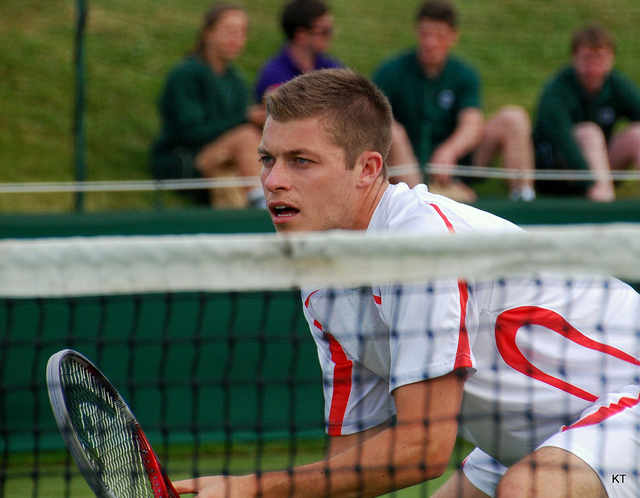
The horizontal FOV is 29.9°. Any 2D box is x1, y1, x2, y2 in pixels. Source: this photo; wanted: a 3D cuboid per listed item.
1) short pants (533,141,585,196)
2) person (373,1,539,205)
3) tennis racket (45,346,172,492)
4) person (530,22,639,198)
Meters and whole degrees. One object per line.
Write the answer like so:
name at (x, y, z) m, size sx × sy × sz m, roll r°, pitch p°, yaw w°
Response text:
short pants at (1.344, -0.462, 6.781) m, size 0.198 × 0.361 × 0.312 m, roll -4°, pitch 9°, yaw 11°
person at (0.737, -0.911, 7.110) m, size 0.833 × 1.427 × 1.024 m, roll -11°, pitch 15°, yaw -11°
tennis racket at (-0.936, 0.784, 5.106) m, size 0.106 × 0.808 × 0.396 m, roll -20°, pitch 39°, yaw 22°
person at (1.596, -0.856, 7.099) m, size 0.529 × 0.988 × 0.847 m, roll -7°, pitch 16°, yaw 6°
